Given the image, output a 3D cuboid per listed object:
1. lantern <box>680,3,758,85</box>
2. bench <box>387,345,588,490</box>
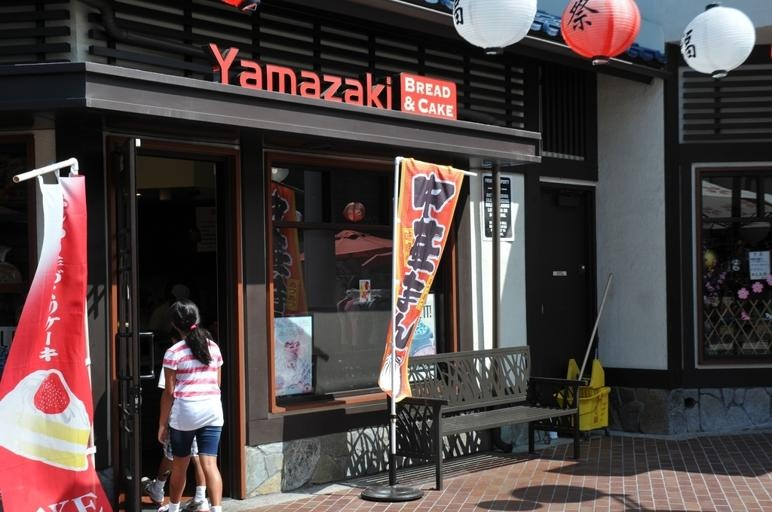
[{"bbox_3d":[3.466,-2.286,7.597,0.673,0.748,0.358,1,1,23],"label":"lantern"},{"bbox_3d":[1.293,1.901,9.018,2.646,1.555,0.934,2,-7,-42],"label":"bench"}]
